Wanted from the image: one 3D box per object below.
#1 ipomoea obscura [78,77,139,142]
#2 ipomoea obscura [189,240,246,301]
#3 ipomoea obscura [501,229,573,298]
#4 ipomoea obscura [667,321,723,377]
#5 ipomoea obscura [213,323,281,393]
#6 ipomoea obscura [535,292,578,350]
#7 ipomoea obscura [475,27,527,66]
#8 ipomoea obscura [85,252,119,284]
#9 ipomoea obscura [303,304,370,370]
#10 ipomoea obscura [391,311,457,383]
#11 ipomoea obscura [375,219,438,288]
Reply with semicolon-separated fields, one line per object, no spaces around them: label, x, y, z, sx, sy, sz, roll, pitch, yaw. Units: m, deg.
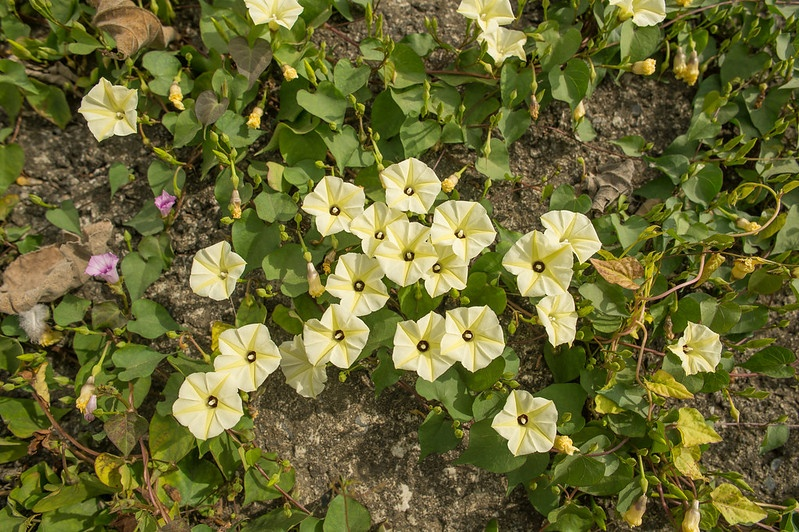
ipomoea obscura;-2.043;-1.100;5.352;0.392;0.114;0.413;1;84;0
ipomoea obscura;-1.237;0.029;5.121;0.341;0.078;0.388;32;84;3
ipomoea obscura;0.923;0.001;5.195;0.460;0.396;0.419;0;83;0
ipomoea obscura;2.054;0.566;5.214;0.323;0.079;0.342;-41;86;-5
ipomoea obscura;-1.031;0.615;5.263;0.436;0.453;0.426;-35;84;-4
ipomoea obscura;1.058;0.365;5.076;0.291;0.111;0.334;28;84;-6
ipomoea obscura;0.747;-1.541;5.352;0.344;0.214;0.233;-6;83;-1
ipomoea obscura;-2.077;0.016;5.404;0.184;0.226;0.266;-11;82;-4
ipomoea obscura;-0.420;0.450;5.009;0.426;0.094;0.395;4;84;0
ipomoea obscura;0.152;0.559;5.088;0.383;0.298;0.424;-14;83;-2
ipomoea obscura;0.056;-0.098;5.004;0.392;0.062;0.416;30;84;3
